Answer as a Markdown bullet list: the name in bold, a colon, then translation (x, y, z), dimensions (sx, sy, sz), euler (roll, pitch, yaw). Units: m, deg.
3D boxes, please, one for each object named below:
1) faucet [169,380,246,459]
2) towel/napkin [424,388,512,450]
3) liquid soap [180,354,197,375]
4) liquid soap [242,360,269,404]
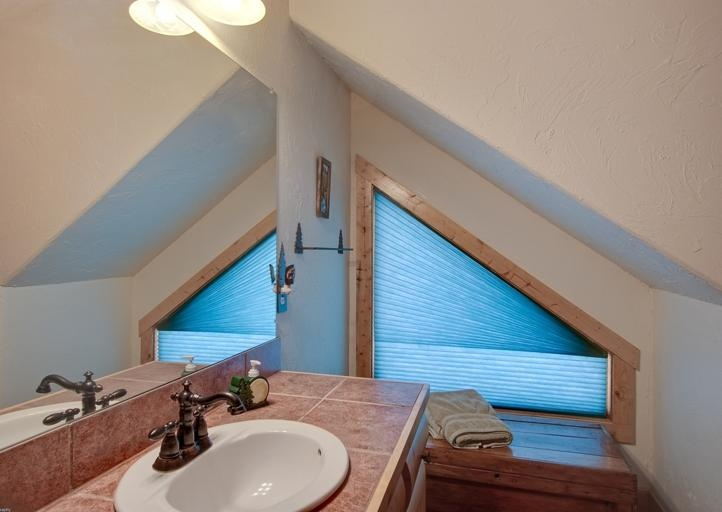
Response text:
- **faucet**: translation (-0.472, 0.499, 1.660), dimensions (0.211, 0.213, 0.142), euler (2, -1, -7)
- **towel/napkin**: translation (0.569, 0.883, 2.963), dimensions (0.409, 0.233, 0.440), euler (1, -5, -3)
- **liquid soap**: translation (-0.597, 0.380, 1.882), dimensions (0.053, 0.055, 0.053), euler (1, -2, -23)
- **liquid soap**: translation (-0.392, 0.468, 2.001), dimensions (0.056, 0.183, 0.126), euler (-3, -5, 23)
